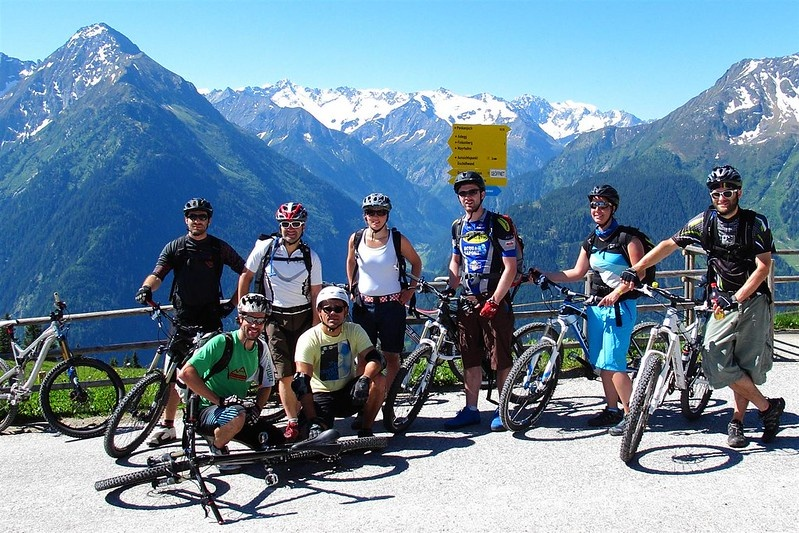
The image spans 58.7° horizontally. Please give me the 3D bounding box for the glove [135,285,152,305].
[{"bbox_3d":[-4.231,0.486,11.714,0.236,0.149,0.329,-20,31,-2],"label":"glove"}]

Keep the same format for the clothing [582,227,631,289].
[{"bbox_3d":[3.371,-0.137,11.451,0.579,0.982,0.913,4,-7,-30],"label":"clothing"}]

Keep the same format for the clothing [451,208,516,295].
[{"bbox_3d":[1.405,-0.214,11.828,1.273,1.267,0.772,-3,-21,30],"label":"clothing"}]

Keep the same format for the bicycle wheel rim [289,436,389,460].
[{"bbox_3d":[-0.971,2.744,10.720,1.390,0.108,0.454,-3,-3,-31],"label":"bicycle wheel rim"}]

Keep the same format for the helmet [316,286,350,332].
[{"bbox_3d":[-1.055,0.700,11.284,0.497,0.728,0.717,1,-23,-2],"label":"helmet"}]

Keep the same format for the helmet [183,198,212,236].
[{"bbox_3d":[-3.533,-0.899,12.046,0.502,0.672,0.595,4,-17,-7],"label":"helmet"}]

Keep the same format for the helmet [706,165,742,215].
[{"bbox_3d":[4.806,-1.212,10.529,0.540,0.776,0.712,-5,34,19],"label":"helmet"}]

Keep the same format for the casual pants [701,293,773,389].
[{"bbox_3d":[5.077,1.120,10.590,1.047,1.419,0.390,-2,12,3],"label":"casual pants"}]

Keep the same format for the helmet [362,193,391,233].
[{"bbox_3d":[-0.423,-0.923,11.981,0.501,0.575,0.612,6,-13,-23],"label":"helmet"}]

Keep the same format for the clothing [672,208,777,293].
[{"bbox_3d":[4.934,-0.303,10.817,1.397,1.284,0.723,8,30,42],"label":"clothing"}]

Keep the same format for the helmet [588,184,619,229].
[{"bbox_3d":[3.333,-0.992,11.570,0.568,0.725,0.705,-2,8,12],"label":"helmet"}]

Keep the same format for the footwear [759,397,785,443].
[{"bbox_3d":[5.637,2.269,10.853,0.416,0.804,0.270,3,4,2],"label":"footwear"}]

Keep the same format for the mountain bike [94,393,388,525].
[{"bbox_3d":[-2.385,2.561,10.264,4.048,1.298,1.279,-7,13,-17],"label":"mountain bike"}]

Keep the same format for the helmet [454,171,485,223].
[{"bbox_3d":[1.152,-1.185,11.716,0.524,0.824,0.677,-4,-18,10],"label":"helmet"}]

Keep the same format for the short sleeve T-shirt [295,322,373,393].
[{"bbox_3d":[-0.989,1.517,11.572,1.345,1.084,0.773,-9,1,20],"label":"short sleeve T-shirt"}]

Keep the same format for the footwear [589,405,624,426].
[{"bbox_3d":[3.417,2.461,11.697,0.627,0.260,0.258,-4,0,7],"label":"footwear"}]

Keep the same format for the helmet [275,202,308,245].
[{"bbox_3d":[-1.768,-0.728,12.036,0.502,0.589,0.623,-2,-8,-1],"label":"helmet"}]

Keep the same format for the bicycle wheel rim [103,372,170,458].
[{"bbox_3d":[-4.224,2.391,11.322,0.315,1.466,1.474,23,-7,10],"label":"bicycle wheel rim"}]

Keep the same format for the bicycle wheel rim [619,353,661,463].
[{"bbox_3d":[3.504,2.087,10.379,0.254,1.512,0.917,8,16,41],"label":"bicycle wheel rim"}]
